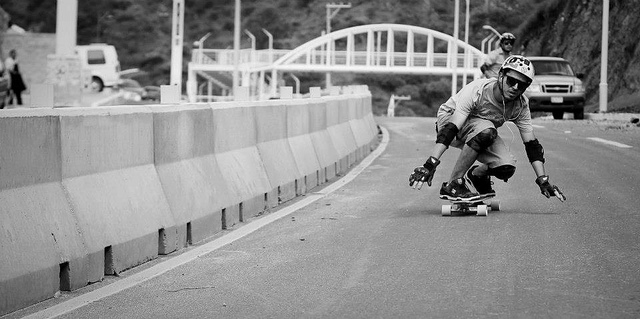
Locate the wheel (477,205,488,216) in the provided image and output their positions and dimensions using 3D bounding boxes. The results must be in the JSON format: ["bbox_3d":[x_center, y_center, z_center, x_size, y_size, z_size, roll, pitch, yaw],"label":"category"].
[{"bbox_3d":[3.057,0.953,11.029,0.170,0.214,0.224,6,24,9],"label":"wheel"}]

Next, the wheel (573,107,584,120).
[{"bbox_3d":[13.552,-2.454,30.736,0.470,0.684,0.979,3,11,24],"label":"wheel"}]

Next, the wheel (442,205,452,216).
[{"bbox_3d":[2.385,0.950,11.018,0.167,0.213,0.220,3,43,3],"label":"wheel"}]

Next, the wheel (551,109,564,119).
[{"bbox_3d":[13.435,-2.603,32.994,0.992,0.650,0.668,-1,5,-3],"label":"wheel"}]

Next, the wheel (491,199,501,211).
[{"bbox_3d":[3.418,0.880,11.423,0.175,0.233,0.215,-1,1,5],"label":"wheel"}]
